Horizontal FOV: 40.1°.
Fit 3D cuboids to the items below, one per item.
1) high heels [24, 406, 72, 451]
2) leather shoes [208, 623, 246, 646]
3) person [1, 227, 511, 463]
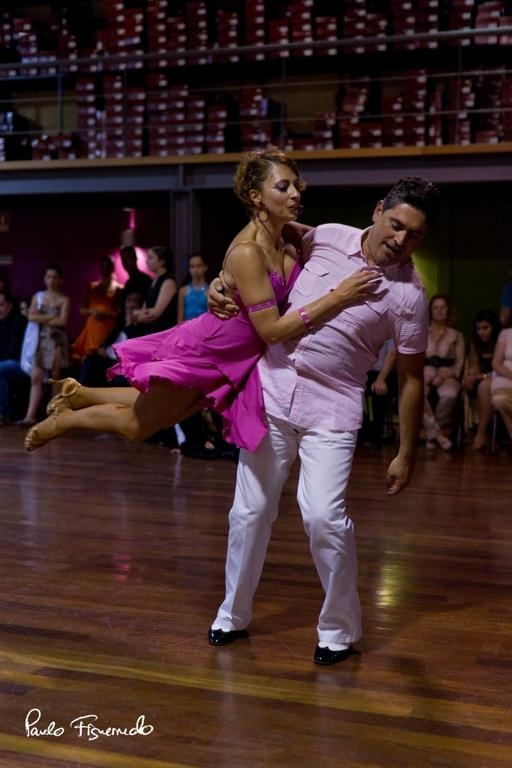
[{"bbox_3d":[-0.698,0.150,2.347,0.186,0.074,0.115,-25,7,20],"label":"high heels"},{"bbox_3d":[-0.080,0.691,1.940,0.121,0.044,0.040,13,-8,-44],"label":"leather shoes"},{"bbox_3d":[-0.102,-0.045,2.038,1.362,0.627,0.574,-1,-13,8],"label":"person"}]
